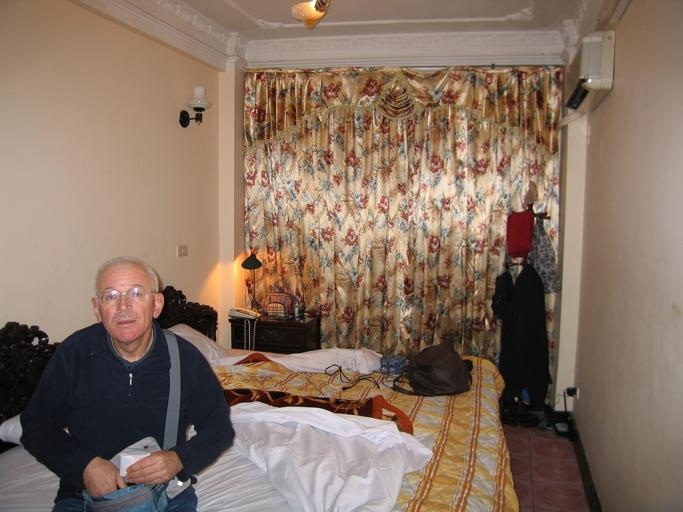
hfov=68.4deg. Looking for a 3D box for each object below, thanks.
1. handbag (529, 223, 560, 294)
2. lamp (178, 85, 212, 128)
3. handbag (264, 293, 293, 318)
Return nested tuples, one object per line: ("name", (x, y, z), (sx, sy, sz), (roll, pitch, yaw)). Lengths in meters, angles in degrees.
("handbag", (1.740, -0.007, 4.301), (0.278, 0.594, 0.156), (8, 9, 24))
("lamp", (-1.251, -1.266, 4.272), (0.248, 0.351, 0.172), (-1, 3, 12))
("handbag", (-0.608, 0.475, 4.993), (0.353, 0.350, 0.196), (0, -6, 3))
